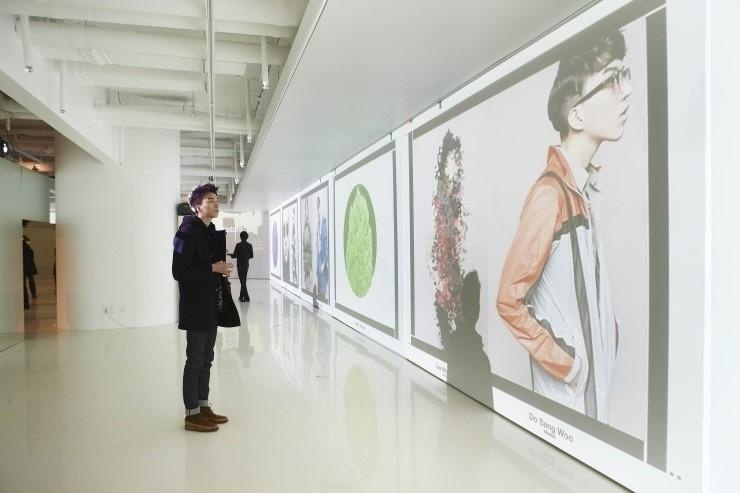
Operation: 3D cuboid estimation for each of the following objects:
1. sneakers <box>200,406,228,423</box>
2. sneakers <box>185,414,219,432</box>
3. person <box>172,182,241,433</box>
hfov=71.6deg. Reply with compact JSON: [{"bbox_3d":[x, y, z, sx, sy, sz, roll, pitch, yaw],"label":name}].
[{"bbox_3d":[-1.584,1.755,5.376,0.355,0.161,0.123,5,-1,-12],"label":"sneakers"},{"bbox_3d":[-1.713,1.808,5.282,0.322,0.160,0.150,2,-2,3],"label":"sneakers"},{"bbox_3d":[-1.708,0.610,5.350,0.569,2.513,0.619,3,7,28],"label":"person"}]
